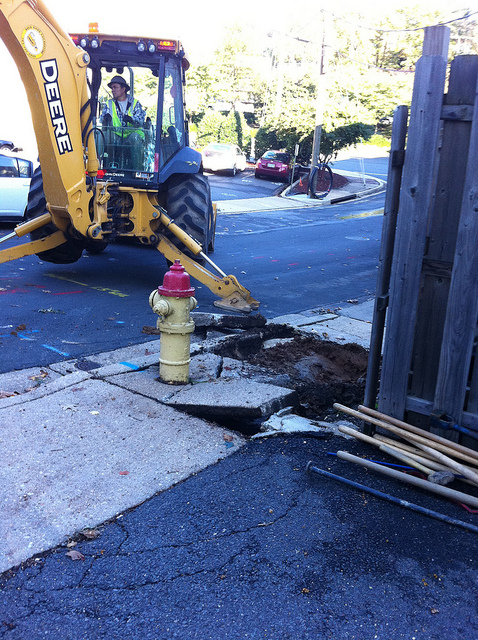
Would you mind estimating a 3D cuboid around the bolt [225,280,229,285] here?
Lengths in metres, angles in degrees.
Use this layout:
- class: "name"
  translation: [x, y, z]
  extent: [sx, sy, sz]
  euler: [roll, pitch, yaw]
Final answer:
- class: "bolt"
  translation: [-0.134, -0.429, 6.216]
  extent: [0.060, 0.051, 0.013]
  euler: [6, 2, 14]

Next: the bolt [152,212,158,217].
- class: "bolt"
  translation: [-1.083, -1.375, 7.096]
  extent: [0.086, 0.073, 0.019]
  euler: [1, 1, 11]

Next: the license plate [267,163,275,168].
- class: "license plate"
  translation: [1.687, -8.071, 28.493]
  extent: [0.384, 0.217, 0.115]
  euler: [9, 20, 21]

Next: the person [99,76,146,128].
- class: "person"
  translation: [-1.563, -2.803, 7.332]
  extent: [0.658, 0.789, 0.462]
  euler: [-5, -6, -17]

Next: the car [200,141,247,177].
- class: "car"
  translation: [-0.874, -8.584, 29.352]
  extent: [1.518, 1.673, 2.450]
  euler: [10, 20, 24]

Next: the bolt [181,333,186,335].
- class: "bolt"
  translation: [-0.408, 0.100, 4.044]
  extent: [0.038, 0.016, 0.009]
  euler: [-8, 21, -28]

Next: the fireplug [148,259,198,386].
- class: "fireplug"
  translation: [-0.501, 0.011, 4.153]
  extent: [0.346, 0.953, 0.349]
  euler: [0, 20, -5]

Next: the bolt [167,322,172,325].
- class: "bolt"
  translation: [-0.505, 0.025, 4.014]
  extent: [0.025, 0.010, 0.024]
  euler: [1, 17, -2]

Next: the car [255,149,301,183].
- class: "car"
  translation: [2.073, -8.098, 28.977]
  extent: [2.244, 1.496, 1.579]
  euler: [6, 19, 14]

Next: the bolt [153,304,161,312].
- class: "bolt"
  translation: [-0.593, -0.086, 3.996]
  extent: [0.055, 0.050, 0.018]
  euler: [16, -4, 38]
